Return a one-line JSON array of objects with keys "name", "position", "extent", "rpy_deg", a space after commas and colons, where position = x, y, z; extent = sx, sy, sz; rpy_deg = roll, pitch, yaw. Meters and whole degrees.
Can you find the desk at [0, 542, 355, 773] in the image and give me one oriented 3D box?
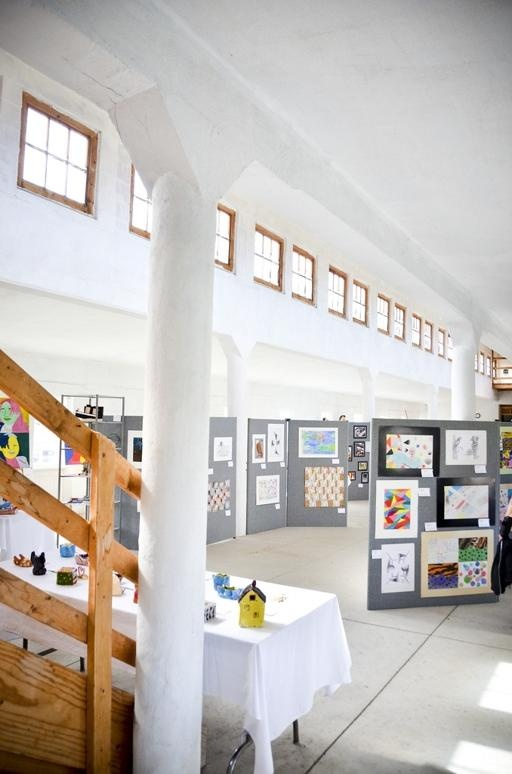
[{"name": "desk", "position": [-0.254, 1.490, 2.838], "extent": [1.288, 0.758, 1.135], "rpy_deg": [-1, -6, 30]}]
